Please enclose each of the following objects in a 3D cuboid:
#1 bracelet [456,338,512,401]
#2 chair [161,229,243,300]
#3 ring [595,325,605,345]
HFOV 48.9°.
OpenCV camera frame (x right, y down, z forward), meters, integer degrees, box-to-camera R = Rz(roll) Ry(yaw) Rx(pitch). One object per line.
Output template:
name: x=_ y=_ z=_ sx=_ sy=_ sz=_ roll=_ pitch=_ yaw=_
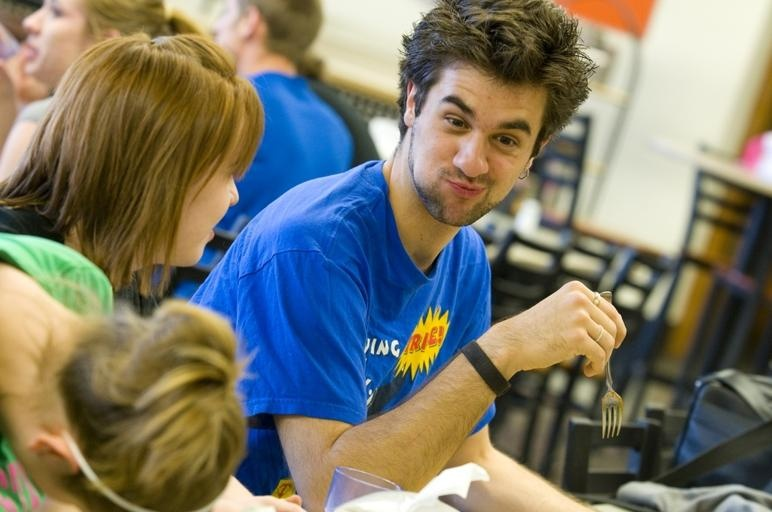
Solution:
bracelet: x=0.240 y=0.257 z=2.044 sx=0.157 sy=0.081 sz=0.135 roll=54 pitch=-8 yaw=-3
chair: x=-0.475 y=0.021 z=2.190 sx=0.095 sy=0.196 sz=0.123 roll=24 pitch=39 yaw=24
ring: x=0.497 y=0.181 z=1.960 sx=0.022 sy=0.034 sz=0.012 roll=2 pitch=-10 yaw=-12
